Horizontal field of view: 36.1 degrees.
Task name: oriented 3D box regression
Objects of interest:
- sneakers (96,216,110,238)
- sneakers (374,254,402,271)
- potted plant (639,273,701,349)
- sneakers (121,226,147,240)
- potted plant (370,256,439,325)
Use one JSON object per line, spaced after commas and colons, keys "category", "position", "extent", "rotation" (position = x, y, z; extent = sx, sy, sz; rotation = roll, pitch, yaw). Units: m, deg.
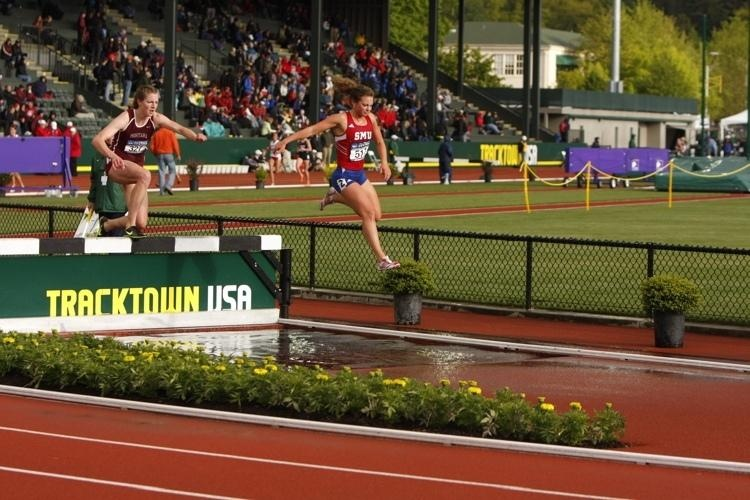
{"category": "sneakers", "position": [-4.122, -0.355, 17.476], "extent": [0.095, 0.299, 0.124], "rotation": [4, 19, -32]}
{"category": "sneakers", "position": [0.188, 0.182, 16.628], "extent": [0.382, 0.207, 0.154], "rotation": [-3, 9, 5]}
{"category": "potted plant", "position": [3.963, 0.803, 15.323], "extent": [0.818, 1.126, 0.958], "rotation": [2, 0, 10]}
{"category": "sneakers", "position": [-3.273, -0.241, 15.900], "extent": [0.408, 0.196, 0.171], "rotation": [1, 2, 32]}
{"category": "potted plant", "position": [0.462, 0.608, 16.861], "extent": [0.781, 0.952, 0.780], "rotation": [0, -9, -2]}
